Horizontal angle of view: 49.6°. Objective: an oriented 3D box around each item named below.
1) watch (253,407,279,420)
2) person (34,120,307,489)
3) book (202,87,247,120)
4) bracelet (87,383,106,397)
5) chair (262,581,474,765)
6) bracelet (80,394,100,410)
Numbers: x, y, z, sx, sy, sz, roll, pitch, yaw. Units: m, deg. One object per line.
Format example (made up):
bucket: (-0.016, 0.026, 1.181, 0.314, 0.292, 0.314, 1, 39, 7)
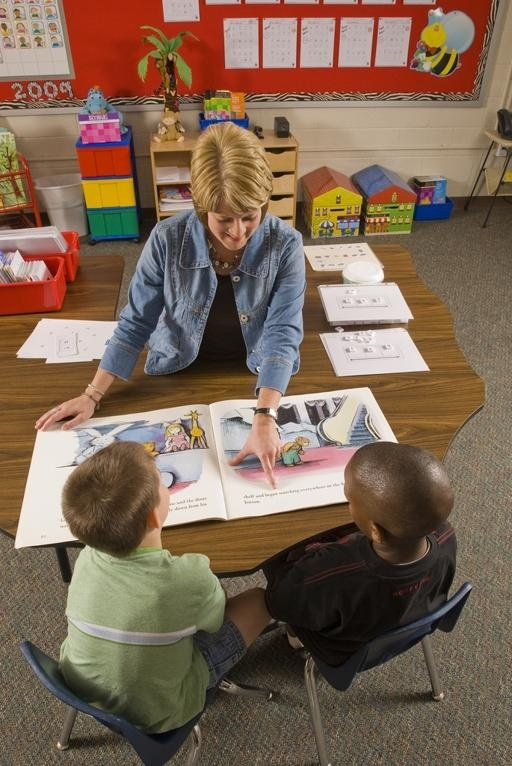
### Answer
watch: (0.022, 0.064, 1.215, 0.044, 0.044, 0.026, -2, 79, 15)
person: (-0.173, -0.184, 1.247, 0.574, 0.613, 0.762, 6, 41, 2)
book: (-0.213, -1.786, 3.586, 0.259, 0.178, 0.157, -7, 42, -7)
bracelet: (-0.372, 0.022, 1.293, 0.029, 0.034, 0.037, 6, 31, -3)
chair: (0.245, 0.673, 1.242, 0.316, 0.492, 0.358, -20, 59, -6)
bracelet: (-0.382, 0.041, 1.283, 0.038, 0.031, 0.020, 45, 98, 15)
